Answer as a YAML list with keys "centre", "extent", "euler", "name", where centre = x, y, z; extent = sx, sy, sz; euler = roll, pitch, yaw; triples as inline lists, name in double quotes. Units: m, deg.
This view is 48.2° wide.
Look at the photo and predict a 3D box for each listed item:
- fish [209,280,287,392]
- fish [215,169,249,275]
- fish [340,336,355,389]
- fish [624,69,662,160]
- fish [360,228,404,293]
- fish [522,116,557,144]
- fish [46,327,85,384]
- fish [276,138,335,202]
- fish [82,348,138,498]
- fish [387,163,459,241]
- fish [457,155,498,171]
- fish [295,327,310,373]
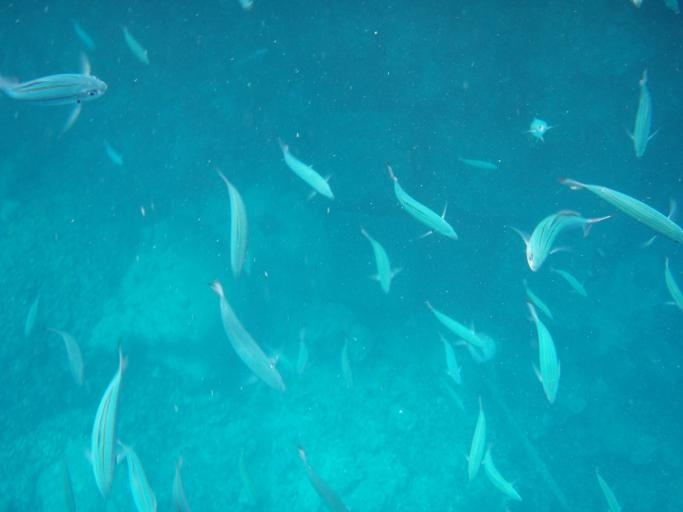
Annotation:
- centre: [-0.497, 0.424, 3.886]
  extent: [0.096, 0.572, 0.074]
  euler: [-27, -6, 17]
  name: "fish"
- centre: [-0.539, -0.179, 3.898]
  extent: [0.118, 0.379, 0.324]
  euler: [-9, -40, -8]
  name: "fish"
- centre: [0.032, 0.559, 3.961]
  extent: [0.045, 0.280, 0.039]
  euler: [2, 0, -15]
  name: "fish"
- centre: [1.503, -0.706, 3.795]
  extent: [0.099, 0.424, 0.134]
  euler: [4, 5, 8]
  name: "fish"
- centre: [0.209, 0.044, 3.924]
  extent: [0.143, 0.363, 0.079]
  euler: [-19, 3, 17]
  name: "fish"
- centre: [0.995, -0.638, 3.845]
  extent: [0.088, 0.125, 0.062]
  euler: [-8, -6, -25]
  name: "fish"
- centre: [-1.387, 0.396, 3.854]
  extent: [0.086, 0.477, 0.048]
  euler: [-14, -19, -27]
  name: "fish"
- centre: [-0.178, -0.418, 3.927]
  extent: [0.155, 0.437, 0.151]
  euler: [-39, -2, 34]
  name: "fish"
- centre: [-1.130, 0.867, 3.697]
  extent: [0.137, 0.847, 0.274]
  euler: [4, 4, -8]
  name: "fish"
- centre: [0.398, -0.247, 3.966]
  extent: [0.212, 0.532, 0.136]
  euler: [-43, -11, 23]
  name: "fish"
- centre: [0.699, -0.469, 3.882]
  extent: [0.185, 0.100, 0.034]
  euler: [-11, -36, -16]
  name: "fish"
- centre: [-0.200, 0.502, 3.951]
  extent: [0.046, 0.251, 0.037]
  euler: [3, -9, -13]
  name: "fish"
